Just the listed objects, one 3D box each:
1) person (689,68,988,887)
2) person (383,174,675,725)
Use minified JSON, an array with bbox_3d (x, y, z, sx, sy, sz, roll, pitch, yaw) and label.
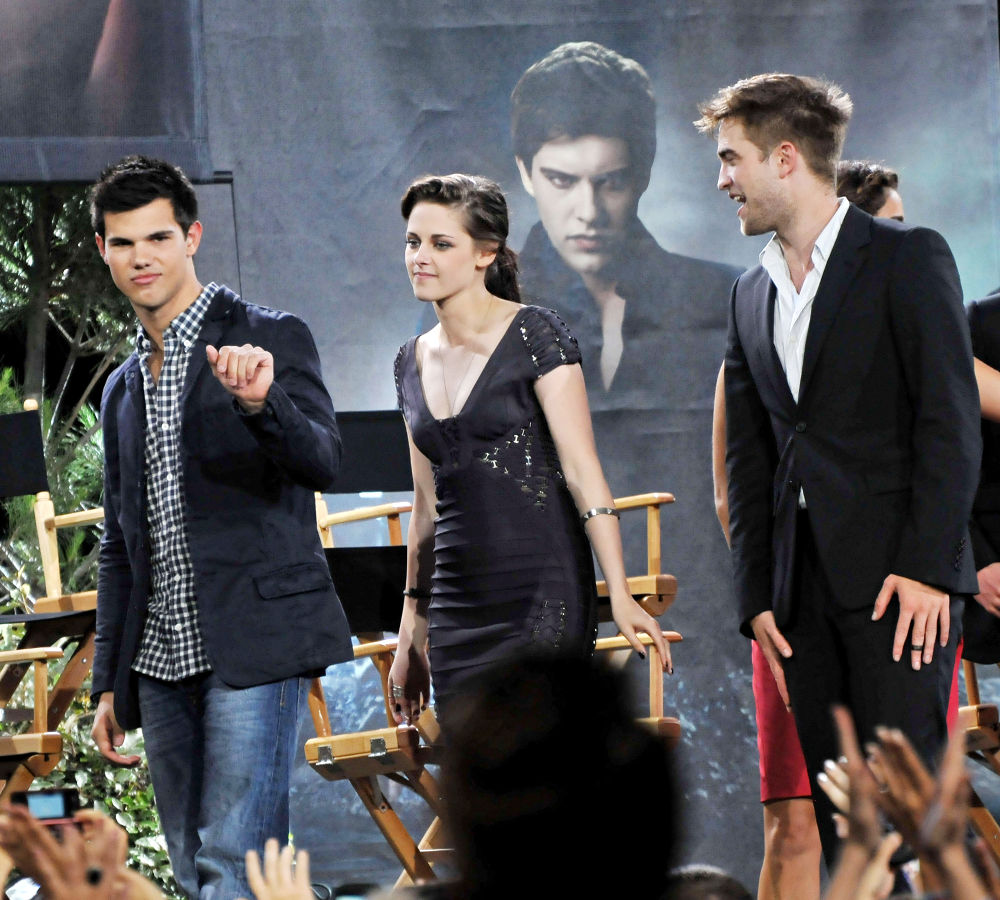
[{"bbox_3d":[0.694,0.180,2.295,0.494,1.787,0.387,1,10,42],"label":"person"},{"bbox_3d":[0.042,0.234,2.544,0.590,1.682,0.356,1,11,18],"label":"person"}]
